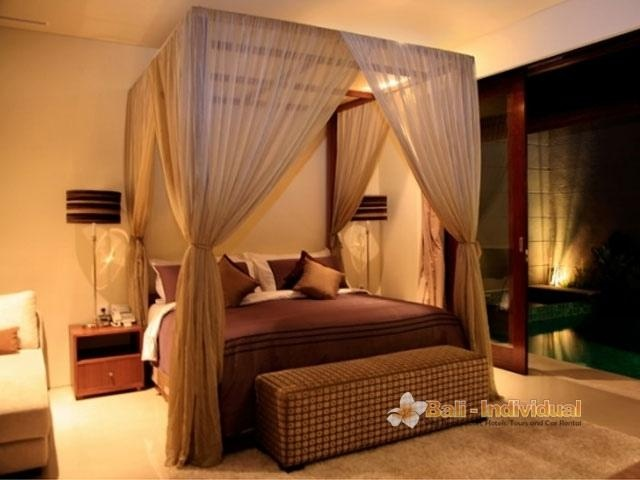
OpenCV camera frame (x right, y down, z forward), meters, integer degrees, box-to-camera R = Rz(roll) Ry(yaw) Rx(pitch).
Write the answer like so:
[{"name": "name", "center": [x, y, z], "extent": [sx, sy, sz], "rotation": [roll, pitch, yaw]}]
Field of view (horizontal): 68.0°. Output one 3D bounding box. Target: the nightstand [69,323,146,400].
[{"name": "nightstand", "center": [-2.111, 1.163, 4.797], "extent": [0.810, 0.823, 0.602], "rotation": [1, -6, -32]}]

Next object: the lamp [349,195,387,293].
[{"name": "lamp", "center": [0.688, 0.052, 6.396], "extent": [0.594, 1.284, 0.522], "rotation": [-2, 4, -12]}]

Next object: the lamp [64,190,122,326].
[{"name": "lamp", "center": [-2.299, 0.173, 4.865], "extent": [0.514, 1.381, 0.349], "rotation": [-3, 5, -31]}]

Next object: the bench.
[{"name": "bench", "center": [0.501, 1.267, 3.823], "extent": [1.869, 0.653, 0.598], "rotation": [-3, 0, -20]}]

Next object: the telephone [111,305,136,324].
[{"name": "telephone", "center": [-2.028, 0.759, 4.839], "extent": [0.162, 0.116, 0.220], "rotation": [2, 9, -36]}]
